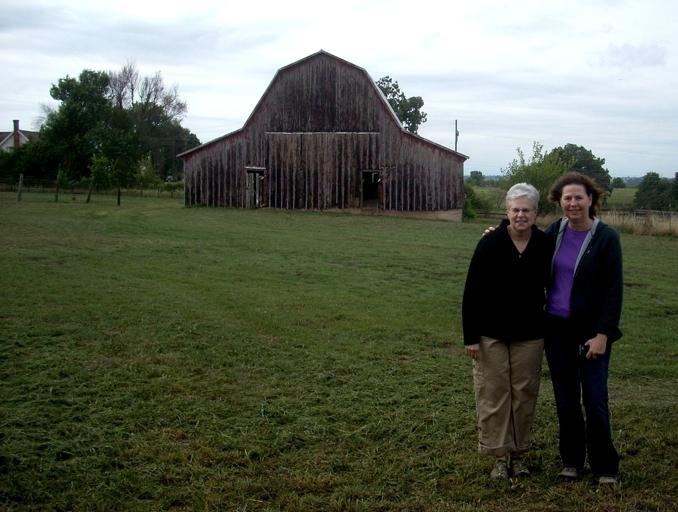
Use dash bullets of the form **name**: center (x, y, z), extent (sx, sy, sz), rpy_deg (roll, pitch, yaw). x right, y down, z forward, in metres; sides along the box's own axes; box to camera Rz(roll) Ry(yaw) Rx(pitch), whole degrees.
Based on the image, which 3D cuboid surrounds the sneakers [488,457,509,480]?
- **sneakers**: center (1.547, 2.035, 5.718), extent (0.176, 0.286, 0.137), rpy_deg (-8, 14, -19)

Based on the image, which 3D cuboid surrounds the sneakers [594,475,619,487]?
- **sneakers**: center (2.463, 2.077, 5.393), extent (0.170, 0.082, 0.100), rpy_deg (7, 12, 12)

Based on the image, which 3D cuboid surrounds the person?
- **person**: center (2.367, 0.651, 5.636), extent (0.654, 2.795, 1.144), rpy_deg (2, 12, -9)

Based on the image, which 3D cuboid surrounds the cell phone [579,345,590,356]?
- **cell phone**: center (2.320, 0.895, 5.550), extent (0.030, 0.092, 0.063), rpy_deg (11, -9, -39)

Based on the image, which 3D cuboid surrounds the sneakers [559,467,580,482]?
- **sneakers**: center (2.191, 2.057, 5.523), extent (0.214, 0.086, 0.139), rpy_deg (5, 12, 5)
